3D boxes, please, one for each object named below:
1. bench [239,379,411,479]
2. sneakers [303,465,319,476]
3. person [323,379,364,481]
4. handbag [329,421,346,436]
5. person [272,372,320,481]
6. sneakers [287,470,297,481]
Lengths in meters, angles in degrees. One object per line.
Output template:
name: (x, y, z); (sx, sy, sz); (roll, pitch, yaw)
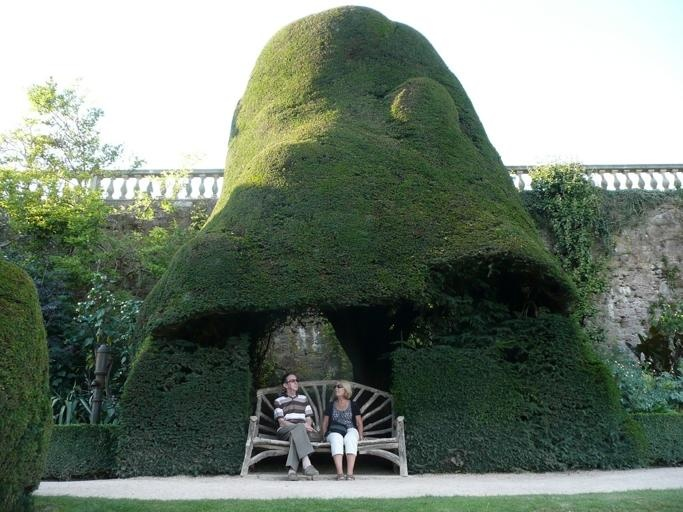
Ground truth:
bench: (-0.278, 2.754, 7.328); (1.924, 1.086, 0.912); (0, -28, -1)
sneakers: (-0.419, 3.010, 6.568); (0.234, 0.177, 0.123); (5, -11, -28)
person: (0.009, 2.599, 7.007); (0.582, 1.371, 1.080); (0, -10, 2)
handbag: (-0.050, 2.577, 6.958); (0.274, 0.166, 0.195); (-1, -10, 3)
person: (-0.677, 2.495, 6.947); (0.602, 1.392, 0.885); (2, -10, -13)
sneakers: (-0.679, 3.024, 6.459); (0.140, 0.106, 0.208); (1, -10, -7)
